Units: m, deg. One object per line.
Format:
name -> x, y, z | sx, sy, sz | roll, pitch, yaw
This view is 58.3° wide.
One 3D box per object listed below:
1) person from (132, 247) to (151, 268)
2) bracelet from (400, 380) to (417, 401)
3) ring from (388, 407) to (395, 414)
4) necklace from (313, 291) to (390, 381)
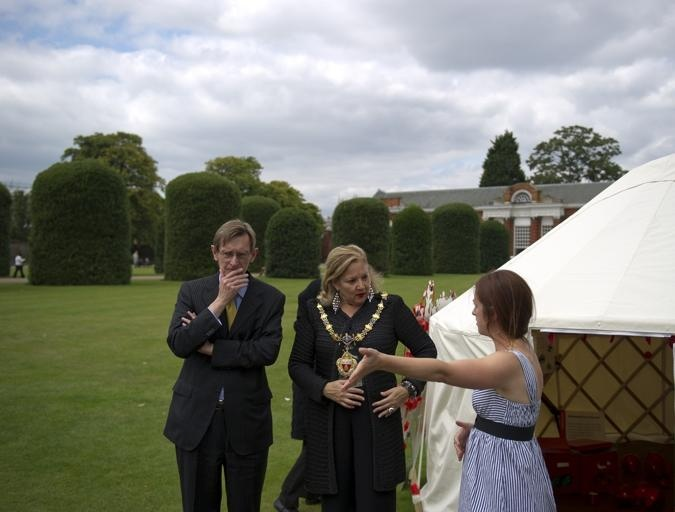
person -> -14.789, 0.093, 45.717 | 1.401, 0.847, 1.521 | -8, -28, 34
bracelet -> 0.521, 0.978, 4.389 | 0.117, 0.125, 0.115 | 8, -27, -26
ring -> 0.382, 1.091, 4.274 | 0.033, 0.044, 0.015 | 3, 11, -34
necklace -> 0.142, 0.590, 4.582 | 0.651, 0.938, 0.456 | 1, -6, 8
